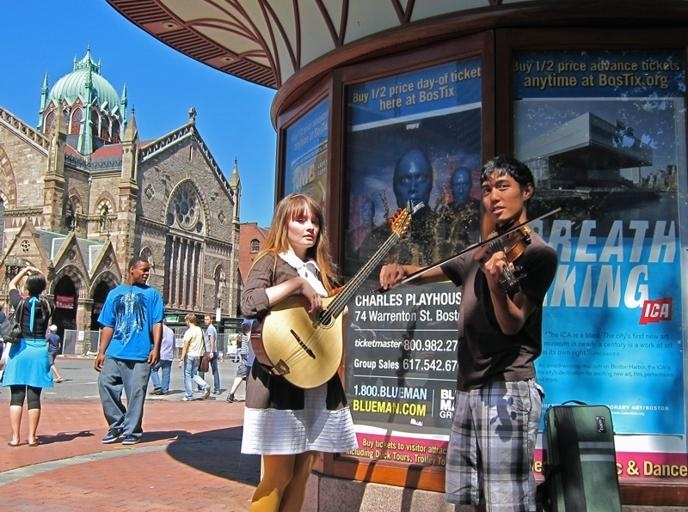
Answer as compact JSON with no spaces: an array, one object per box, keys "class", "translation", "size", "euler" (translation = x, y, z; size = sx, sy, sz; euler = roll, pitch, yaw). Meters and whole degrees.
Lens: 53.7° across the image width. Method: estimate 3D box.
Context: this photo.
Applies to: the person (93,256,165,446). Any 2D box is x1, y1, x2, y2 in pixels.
[{"class":"person","translation":[-2.701,1.155,8.570],"size":[0.802,2.399,0.679],"euler":[-2,-10,26]}]
